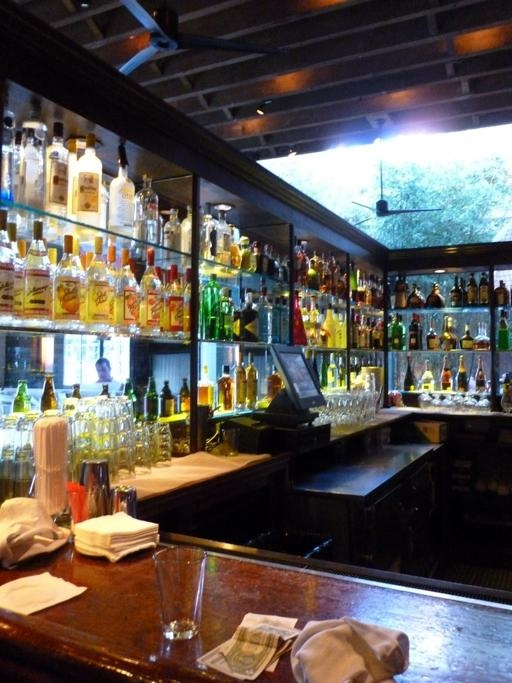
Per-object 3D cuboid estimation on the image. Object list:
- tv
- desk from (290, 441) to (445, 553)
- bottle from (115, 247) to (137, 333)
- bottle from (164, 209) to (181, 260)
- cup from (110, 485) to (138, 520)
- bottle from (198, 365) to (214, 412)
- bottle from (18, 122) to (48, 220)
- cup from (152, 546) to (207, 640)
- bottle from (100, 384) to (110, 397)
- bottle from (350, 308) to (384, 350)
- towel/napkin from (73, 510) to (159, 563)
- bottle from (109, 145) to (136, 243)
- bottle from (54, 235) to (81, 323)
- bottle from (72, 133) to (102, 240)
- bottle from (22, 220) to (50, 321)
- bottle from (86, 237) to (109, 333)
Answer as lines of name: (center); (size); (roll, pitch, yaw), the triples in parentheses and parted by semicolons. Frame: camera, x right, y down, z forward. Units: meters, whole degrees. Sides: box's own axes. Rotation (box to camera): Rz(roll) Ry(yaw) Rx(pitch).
tv: (0.214, 0.188, 2.818); (0.126, 0.344, 0.354); (-11, -7, 27)
desk: (0.590, 0.730, 2.694); (0.256, 0.323, 0.963); (2, 4, 36)
bottle: (-0.502, -0.177, 2.170); (0.089, 0.271, 0.129); (4, -10, -13)
bottle: (-0.385, -0.477, 2.583); (0.077, 0.278, 0.065); (-1, -8, 23)
cup: (-0.325, 0.392, 1.372); (0.069, 0.102, 0.066); (0, -9, 0)
bottle: (-0.238, 0.224, 2.646); (0.076, 0.220, 0.078); (-2, -2, 0)
bottle: (-0.733, -0.574, 1.838); (0.091, 0.294, 0.132); (7, -11, -28)
cup: (-0.107, 0.368, 0.829); (0.103, 0.106, 0.105); (2, -8, 0)
bottle: (-0.644, 0.205, 2.363); (0.040, 0.061, 0.041); (1, -6, 0)
bottle: (0.994, -0.116, 5.036); (0.111, 0.315, 0.358); (-2, -5, 28)
towel/napkin: (-0.313, 0.432, 1.248); (0.148, 0.079, 0.157); (-5, -12, 32)
bottle: (-0.505, -0.558, 2.108); (0.101, 0.327, 0.280); (4, -10, -15)
bottle: (-0.623, -0.209, 1.855); (0.092, 0.284, 0.247); (5, -10, -18)
bottle: (-0.609, -0.568, 2.021); (0.107, 0.364, 0.286); (4, -10, -17)
bottle: (-0.693, -0.215, 1.781); (0.096, 0.296, 0.231); (5, -10, -23)
bottle: (-0.562, -0.213, 1.998); (0.091, 0.306, 0.256); (4, -10, -15)
